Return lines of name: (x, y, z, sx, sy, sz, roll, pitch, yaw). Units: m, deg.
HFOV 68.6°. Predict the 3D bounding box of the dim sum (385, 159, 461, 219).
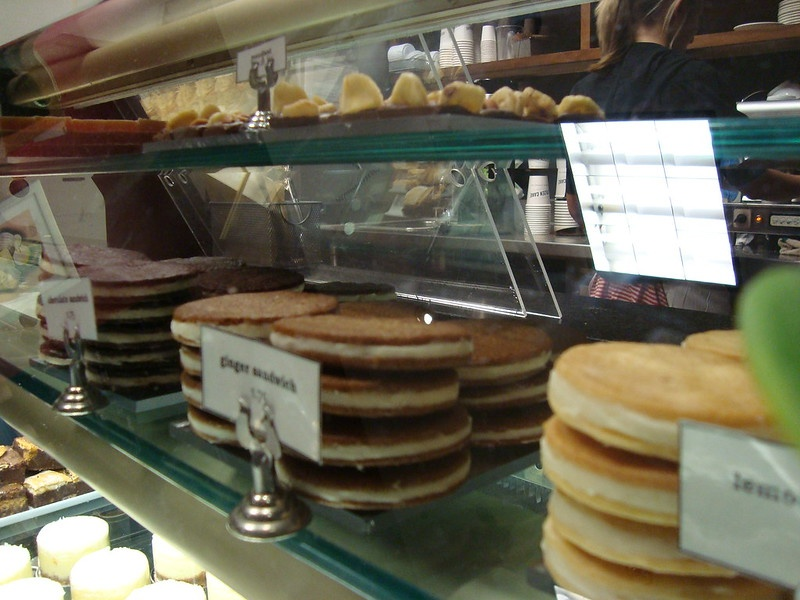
dim sum: (0.025, -0.163, 0.856, 0.077, 0.029, 0.092, 9, 41, 22)
